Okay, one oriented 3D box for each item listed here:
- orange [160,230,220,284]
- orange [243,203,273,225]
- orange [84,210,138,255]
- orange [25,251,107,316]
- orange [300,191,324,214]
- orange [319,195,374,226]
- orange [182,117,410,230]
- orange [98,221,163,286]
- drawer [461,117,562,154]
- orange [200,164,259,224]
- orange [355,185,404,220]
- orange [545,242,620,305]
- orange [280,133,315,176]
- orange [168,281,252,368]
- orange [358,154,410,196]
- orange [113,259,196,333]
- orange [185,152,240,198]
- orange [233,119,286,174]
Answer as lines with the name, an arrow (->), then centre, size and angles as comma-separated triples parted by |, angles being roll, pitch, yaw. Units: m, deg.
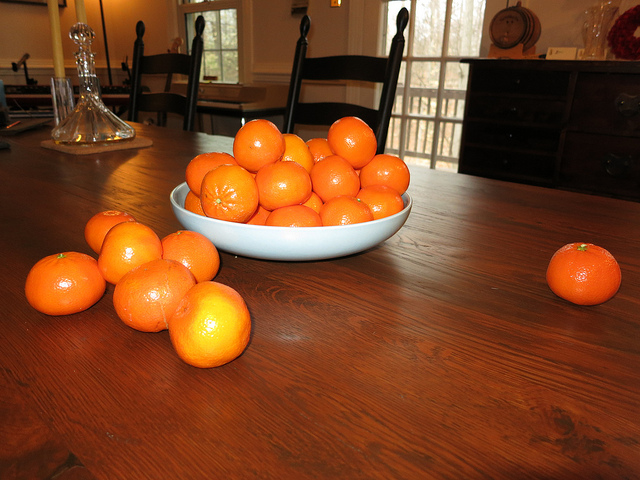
orange -> -0.159, 0.013, 0.526 | 0.061, 0.068, 0.065 | 2, 11, -2
orange -> -0.089, -0.041, 0.615 | 0.030, 0.033, 0.038 | 0, 16, 12
orange -> -0.292, -0.024, 0.605 | 0.067, 0.069, 0.069 | 2, 18, -9
orange -> -0.299, 0.052, 0.486 | 0.073, 0.071, 0.077 | 4, 19, 10
orange -> -0.011, -0.057, 0.621 | 0.029, 0.031, 0.037 | 1, 51, -1
orange -> 0.032, -0.040, 0.565 | 0.048, 0.051, 0.048 | 12, 22, 28
orange -> -0.024, -0.093, 0.618 | 0.238, 0.129, 0.221 | -4, 5, -33
orange -> -0.245, 0.017, 0.536 | 0.074, 0.093, 0.075 | -8, -11, 6
drawer -> 1.203, -0.655, 2.589 | 0.530, 0.165, 0.398 | 10, 17, 21
orange -> -0.121, -0.062, 0.549 | 0.046, 0.047, 0.056 | -27, 24, 34
orange -> 0.092, -0.059, 0.612 | 0.054, 0.059, 0.054 | 4, 14, 21
orange -> 0.327, 0.040, 0.532 | 0.076, 0.074, 0.081 | -2, 26, 19
orange -> -0.032, -0.154, 0.680 | 0.060, 0.077, 0.062 | 5, -14, 7
orange -> -0.096, 0.081, 0.453 | 0.095, 0.096, 0.091 | -9, -16, 39
orange -> 0.104, -0.110, 0.669 | 0.069, 0.074, 0.069 | 0, 11, 2
orange -> -0.187, 0.057, 0.501 | 0.065, 0.067, 0.084 | 33, 46, 31
orange -> -0.176, -0.100, 0.681 | 0.070, 0.070, 0.072 | 19, 44, 30
orange -> -0.093, -0.148, 0.631 | 0.067, 0.083, 0.070 | 10, 21, 2
